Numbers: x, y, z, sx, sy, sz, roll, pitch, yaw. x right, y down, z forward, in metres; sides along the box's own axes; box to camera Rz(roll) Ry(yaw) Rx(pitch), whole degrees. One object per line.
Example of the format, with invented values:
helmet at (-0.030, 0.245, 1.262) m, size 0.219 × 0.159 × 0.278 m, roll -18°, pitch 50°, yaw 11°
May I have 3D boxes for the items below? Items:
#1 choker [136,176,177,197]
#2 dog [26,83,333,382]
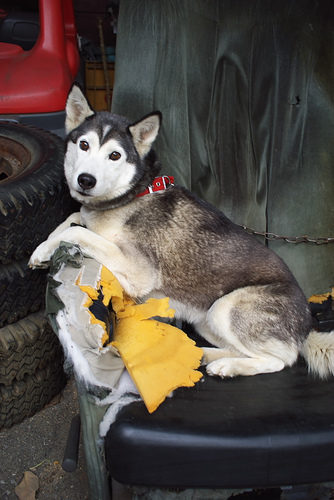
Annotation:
choker at (-0.039, -0.275, 1.861) m, size 0.141 × 0.034 × 0.087 m, roll -23°, pitch 2°, yaw 2°
dog at (0.075, -0.065, 1.627) m, size 1.170 × 1.024 × 0.640 m, roll 11°, pitch 29°, yaw 22°
